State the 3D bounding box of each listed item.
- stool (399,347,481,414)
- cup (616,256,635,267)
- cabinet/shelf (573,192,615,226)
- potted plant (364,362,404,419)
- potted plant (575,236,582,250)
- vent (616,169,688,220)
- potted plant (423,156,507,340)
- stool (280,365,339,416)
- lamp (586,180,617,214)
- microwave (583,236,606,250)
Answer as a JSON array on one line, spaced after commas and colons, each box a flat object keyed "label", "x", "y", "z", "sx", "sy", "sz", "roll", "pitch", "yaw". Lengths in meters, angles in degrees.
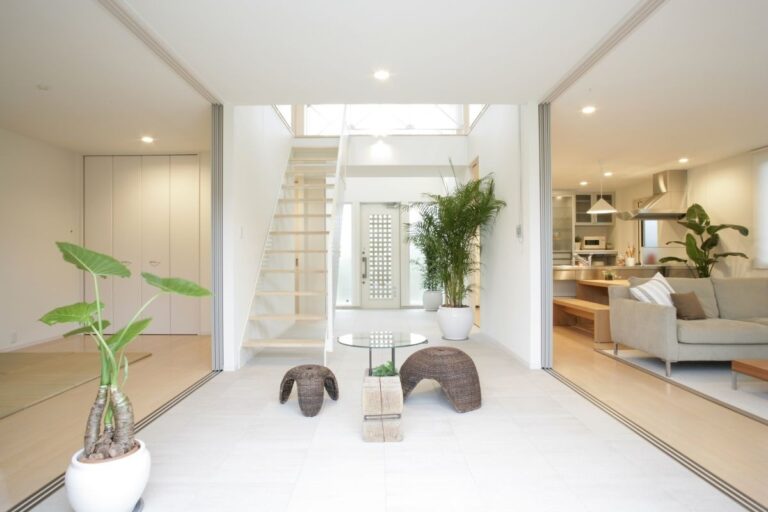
[{"label": "stool", "x": 0.582, "y": 1.166, "z": 4.619, "sx": 0.963, "sy": 0.490, "sz": 0.976, "roll": -3, "pitch": 4, "yaw": 1}, {"label": "cup", "x": 4.717, "y": 0.090, "z": 8.854, "sx": 0.314, "sy": 0.163, "sz": 0.407, "roll": -1, "pitch": -2, "yaw": 11}, {"label": "cabinet/shelf", "x": 4.858, "y": -1.107, "z": 10.520, "sx": 0.902, "sy": 0.774, "sz": 0.318, "roll": 0, "pitch": -1, "yaw": 2}, {"label": "potted plant", "x": -0.006, "y": 1.212, "z": 4.080, "sx": 0.320, "sy": 0.282, "sz": 0.436, "roll": -1, "pitch": -1, "yaw": 0}, {"label": "potted plant", "x": 4.674, "y": -0.338, "z": 10.877, "sx": 0.139, "sy": 0.301, "sz": 0.333, "roll": 4, "pitch": 10, "yaw": 24}, {"label": "vent", "x": 5.287, "y": -1.130, "z": 8.980, "sx": 1.017, "sy": 0.986, "sz": 1.145, "roll": 1, "pitch": 2, "yaw": 9}, {"label": "potted plant", "x": 1.156, "y": -0.026, "z": 7.206, "sx": 1.193, "sy": 2.579, "sz": 1.563, "roll": 0, "pitch": 9, "yaw": 4}, {"label": "stool", "x": -0.706, "y": 1.265, "z": 4.387, "sx": 0.453, "sy": 0.391, "sz": 0.501, "roll": -8, "pitch": 12, "yaw": -40}, {"label": "lamp", "x": 4.384, "y": -1.166, "z": 9.159, "sx": 0.643, "sy": 0.647, "sz": 0.638, "roll": 6, "pitch": 15, "yaw": 38}, {"label": "microwave", "x": 5.077, "y": -0.331, "z": 10.854, "sx": 0.664, "sy": 0.306, "sz": 0.307, "roll": -5, "pitch": 10, "yaw": -28}]
